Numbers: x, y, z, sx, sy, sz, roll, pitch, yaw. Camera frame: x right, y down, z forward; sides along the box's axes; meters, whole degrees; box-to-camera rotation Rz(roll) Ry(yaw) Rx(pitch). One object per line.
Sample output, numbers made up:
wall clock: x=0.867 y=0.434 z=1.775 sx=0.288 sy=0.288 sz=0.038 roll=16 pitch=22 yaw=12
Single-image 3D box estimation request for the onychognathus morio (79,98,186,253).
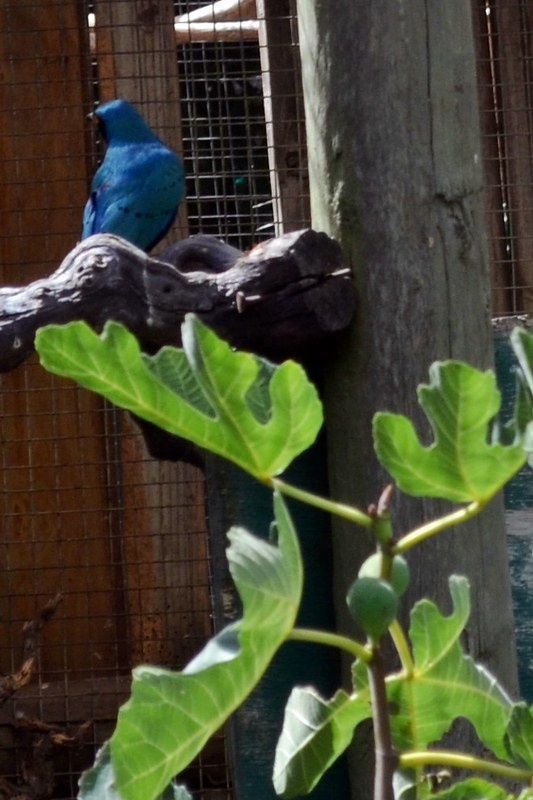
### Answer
onychognathus morio: x=-0.271 y=-0.451 z=4.342 sx=0.198 sy=0.289 sz=0.173 roll=-7 pitch=2 yaw=-12
